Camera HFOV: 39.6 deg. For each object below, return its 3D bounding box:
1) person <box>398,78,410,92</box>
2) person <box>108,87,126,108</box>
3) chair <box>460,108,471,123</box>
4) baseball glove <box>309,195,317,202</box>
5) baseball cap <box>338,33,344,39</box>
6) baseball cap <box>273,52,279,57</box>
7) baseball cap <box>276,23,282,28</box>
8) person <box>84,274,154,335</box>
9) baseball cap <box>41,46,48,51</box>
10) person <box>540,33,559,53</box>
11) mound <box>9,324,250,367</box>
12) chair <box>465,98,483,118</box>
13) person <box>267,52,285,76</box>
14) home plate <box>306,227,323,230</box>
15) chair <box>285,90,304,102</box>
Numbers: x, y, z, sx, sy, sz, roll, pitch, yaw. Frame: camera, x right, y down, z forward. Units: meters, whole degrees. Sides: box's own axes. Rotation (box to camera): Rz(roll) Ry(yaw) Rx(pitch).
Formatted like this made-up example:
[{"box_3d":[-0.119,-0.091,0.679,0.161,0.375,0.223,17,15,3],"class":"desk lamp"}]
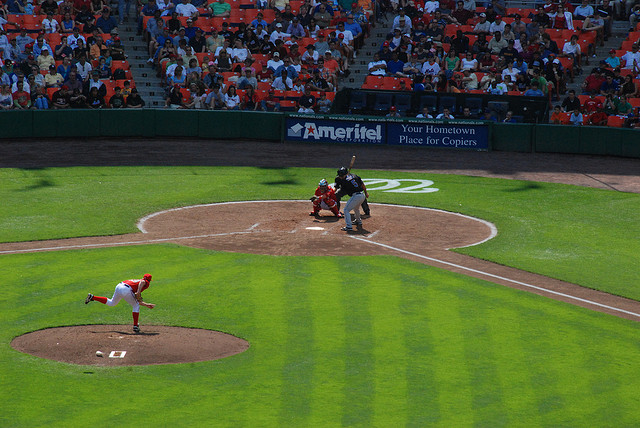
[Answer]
[{"box_3d":[3.973,-6.081,41.912,0.517,0.561,1.121,2,13,2],"class":"person"},{"box_3d":[-9.211,-5.364,40.716,0.632,0.917,0.624,-9,20,-33],"class":"person"},{"box_3d":[6.635,-4.547,40.494,0.512,0.558,0.942,4,14,7],"class":"chair"},{"box_3d":[-0.230,-0.500,29.300,0.241,0.208,0.063,27,26,-30],"class":"baseball glove"},{"box_3d":[1.061,-8.916,44.449,0.284,0.276,0.334,4,15,10],"class":"baseball cap"},{"box_3d":[-2.106,-7.777,43.209,0.459,0.130,0.561,2,8,-2],"class":"baseball cap"},{"box_3d":[-2.053,-9.530,44.839,0.257,0.219,0.352,1,14,-3],"class":"baseball cap"},{"box_3d":[-4.694,2.175,21.338,1.322,1.455,0.586,-1,18,-11],"class":"person"},{"box_3d":[-12.820,-7.754,41.471,0.337,0.170,0.364,-5,5,-10],"class":"baseball cap"},{"box_3d":[11.127,-8.227,42.757,0.856,0.885,0.627,2,17,3],"class":"person"},{"box_3d":[-4.483,3.088,20.915,5.132,0.362,1.862,0,12,-3],"class":"mound"},{"box_3d":[7.111,-4.899,40.683,1.042,0.951,0.945,1,12,6],"class":"chair"},{"box_3d":[-2.116,-7.227,42.878,0.784,1.046,1.138,1,15,-3],"class":"person"},{"box_3d":[-0.124,0.462,28.512,0.445,0.031,0.282,-2,12,-13],"class":"home plate"},{"box_3d":[-1.235,-5.618,42.199,0.907,0.575,0.680,4,17,3],"class":"chair"}]
